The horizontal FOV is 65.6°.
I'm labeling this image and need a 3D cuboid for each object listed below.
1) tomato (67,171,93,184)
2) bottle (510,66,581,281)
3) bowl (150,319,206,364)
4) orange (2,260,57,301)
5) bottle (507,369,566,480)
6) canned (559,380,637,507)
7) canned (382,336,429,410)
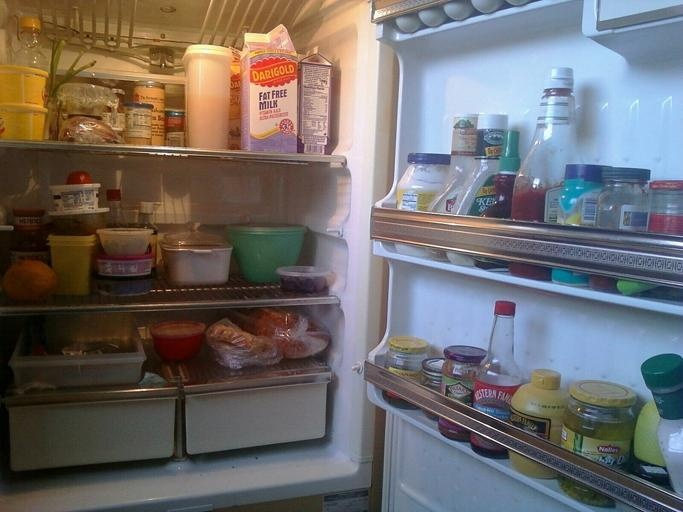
[{"bbox_3d":[-0.803,-0.242,1.619,0.067,0.041,0.065,3,11,12],"label":"tomato"},{"bbox_3d":[0.383,-0.204,0.983,0.165,0.275,0.076,-4,13,-33],"label":"bottle"},{"bbox_3d":[-0.546,0.282,1.810,0.147,0.082,0.144,0,-1,0],"label":"bowl"},{"bbox_3d":[-0.875,0.069,1.541,0.130,0.120,0.124,-11,-1,-8],"label":"orange"},{"bbox_3d":[0.374,0.318,1.010,0.098,0.190,0.081,3,11,-4],"label":"bottle"},{"bbox_3d":[0.460,0.295,0.941,0.117,0.126,0.109,8,12,23],"label":"canned"},{"bbox_3d":[0.153,0.245,1.240,0.100,0.078,0.148,5,12,10],"label":"canned"}]
